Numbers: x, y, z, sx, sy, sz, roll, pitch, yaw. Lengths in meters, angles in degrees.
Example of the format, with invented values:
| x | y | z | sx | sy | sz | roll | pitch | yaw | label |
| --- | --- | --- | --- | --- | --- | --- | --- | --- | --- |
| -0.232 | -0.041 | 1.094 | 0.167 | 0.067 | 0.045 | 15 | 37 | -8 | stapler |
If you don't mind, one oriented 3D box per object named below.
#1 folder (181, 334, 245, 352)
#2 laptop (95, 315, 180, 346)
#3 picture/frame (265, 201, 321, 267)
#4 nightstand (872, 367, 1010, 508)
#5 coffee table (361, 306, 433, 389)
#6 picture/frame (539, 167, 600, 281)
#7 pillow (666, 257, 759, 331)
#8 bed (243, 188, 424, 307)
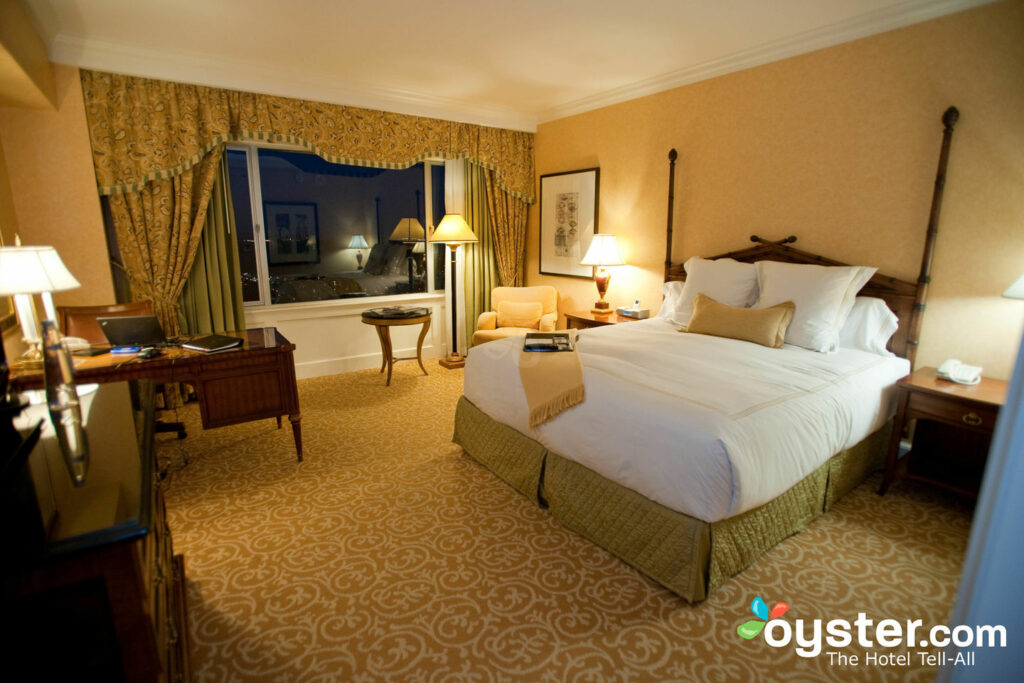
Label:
| x | y | z | sx | sy | sz | roll | pitch | yaw | label |
| --- | --- | --- | --- | --- | --- | --- | --- | --- | --- |
| -2.264 | 0.016 | 4.938 | 0.669 | 0.066 | 0.485 | -1 | 5 | -12 | folder |
| -2.785 | -0.079 | 4.785 | 0.334 | 0.280 | 0.207 | 5 | 24 | -3 | laptop |
| -2.396 | -1.174 | 7.047 | 0.698 | 0.862 | 0.059 | -7 | 14 | -39 | picture/frame |
| 3.298 | 0.707 | 4.768 | 0.836 | 0.719 | 0.714 | -4 | 13 | -36 | nightstand |
| -1.277 | -0.007 | 7.240 | 0.690 | 0.803 | 1.036 | -2 | 12 | -12 | coffee table |
| 0.694 | -1.380 | 7.516 | 0.060 | 1.670 | 1.286 | -8 | 13 | -34 | picture/frame |
| 1.796 | -0.425 | 5.806 | 0.216 | 0.641 | 0.674 | 17 | -5 | -32 | pillow |
| -1.963 | -1.166 | 7.466 | 1.368 | 0.833 | 1.329 | -6 | 16 | -27 | bed |
